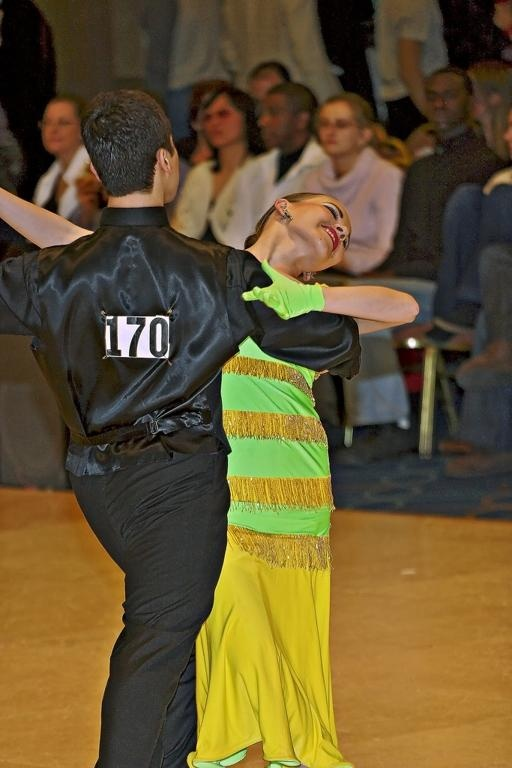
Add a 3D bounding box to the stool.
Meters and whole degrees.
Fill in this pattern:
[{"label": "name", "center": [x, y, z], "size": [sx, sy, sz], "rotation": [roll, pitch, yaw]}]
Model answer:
[{"label": "stool", "center": [0.800, 0.018, 4.015], "size": [0.375, 0.506, 0.326], "rotation": [7, -1, -14]}]
